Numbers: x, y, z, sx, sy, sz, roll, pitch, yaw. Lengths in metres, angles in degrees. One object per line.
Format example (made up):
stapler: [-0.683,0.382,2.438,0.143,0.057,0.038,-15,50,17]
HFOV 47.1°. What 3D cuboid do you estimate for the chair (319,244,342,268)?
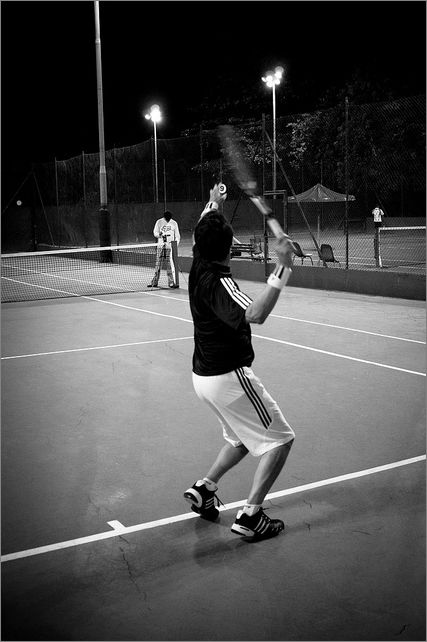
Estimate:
chair: [4.062,-2.318,17.397,0.514,0.839,1.285,0,2,11]

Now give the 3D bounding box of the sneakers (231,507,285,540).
sneakers: [0.252,1.157,2.836,0.348,0.243,0.133,6,-8,-30]

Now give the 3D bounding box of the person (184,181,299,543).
person: [0.160,0.181,2.758,0.524,2.147,1.036,-1,1,-24]

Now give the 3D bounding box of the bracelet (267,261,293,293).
bracelet: [0.323,-0.217,2.403,0.105,0.143,0.281,0,2,10]
